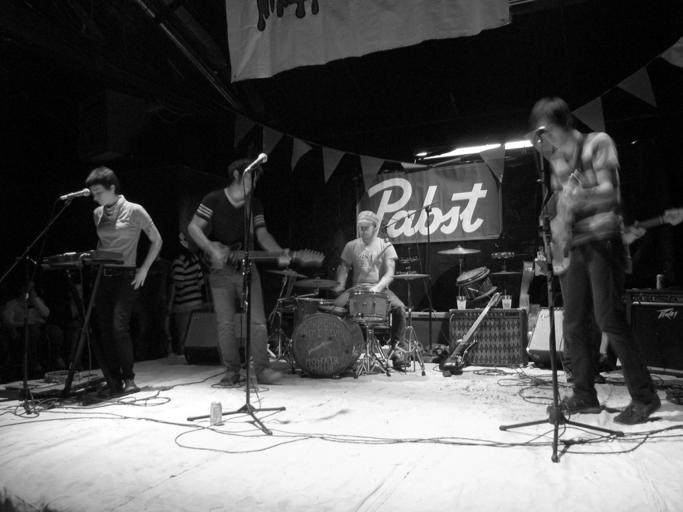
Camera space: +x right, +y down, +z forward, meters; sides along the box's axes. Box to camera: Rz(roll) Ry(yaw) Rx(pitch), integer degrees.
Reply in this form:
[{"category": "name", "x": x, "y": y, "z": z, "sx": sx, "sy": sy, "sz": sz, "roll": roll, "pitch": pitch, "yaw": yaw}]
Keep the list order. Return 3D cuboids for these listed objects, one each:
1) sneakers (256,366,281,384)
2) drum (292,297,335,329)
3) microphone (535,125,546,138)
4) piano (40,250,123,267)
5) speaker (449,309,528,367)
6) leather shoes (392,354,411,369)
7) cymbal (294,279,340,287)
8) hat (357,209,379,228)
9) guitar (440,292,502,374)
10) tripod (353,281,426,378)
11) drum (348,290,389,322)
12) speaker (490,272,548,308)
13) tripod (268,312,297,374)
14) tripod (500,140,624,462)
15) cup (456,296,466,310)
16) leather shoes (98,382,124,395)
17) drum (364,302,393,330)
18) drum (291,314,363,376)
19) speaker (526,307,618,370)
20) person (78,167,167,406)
[{"category": "sneakers", "x": -0.768, "y": 1.266, "z": 6.578, "sx": 0.221, "sy": 0.172, "sz": 0.145, "roll": -3, "pitch": 0, "yaw": 1}, {"category": "drum", "x": -0.349, "y": 0.684, "z": 7.711, "sx": 0.396, "sy": 0.487, "sz": 0.398, "roll": 2, "pitch": -2, "yaw": -19}, {"category": "microphone", "x": 1.488, "y": -0.941, "z": 4.652, "sx": 0.097, "sy": 0.029, "sz": 0.110, "roll": -4, "pitch": 1, "yaw": 25}, {"category": "piano", "x": -2.423, "y": 0.026, "z": 5.754, "sx": 0.735, "sy": 0.141, "sz": 0.202, "roll": -1, "pitch": -6, "yaw": 1}, {"category": "speaker", "x": 1.923, "y": 1.056, "z": 8.003, "sx": 0.992, "sy": 1.013, "sz": 0.658, "roll": -3, "pitch": -9, "yaw": 20}, {"category": "leather shoes", "x": 0.733, "y": 1.285, "z": 7.554, "sx": 0.139, "sy": 0.198, "sz": 0.191, "roll": -4, "pitch": -7, "yaw": 37}, {"category": "cymbal", "x": -0.303, "y": 0.310, "z": 7.258, "sx": 0.458, "sy": 0.111, "sz": 0.388, "roll": -3, "pitch": -7, "yaw": 18}, {"category": "hat", "x": 0.358, "y": -0.511, "z": 8.254, "sx": 0.213, "sy": 0.164, "sz": 0.336, "roll": 0, "pitch": -13, "yaw": 9}, {"category": "guitar", "x": 1.499, "y": 0.938, "z": 7.655, "sx": 0.572, "sy": 0.975, "sz": 1.213, "roll": -5, "pitch": -7, "yaw": 37}, {"category": "tripod", "x": 0.426, "y": 0.893, "z": 7.759, "sx": 0.827, "sy": 1.340, "sz": 0.963, "roll": -7, "pitch": 4, "yaw": 34}, {"category": "drum", "x": 0.285, "y": 0.572, "z": 6.762, "sx": 0.309, "sy": 0.223, "sz": 0.336, "roll": 3, "pitch": -7, "yaw": 0}, {"category": "speaker", "x": 2.761, "y": 0.515, "z": 9.597, "sx": 0.652, "sy": 0.403, "sz": 0.638, "roll": 6, "pitch": 3, "yaw": 30}, {"category": "tripod", "x": -0.857, "y": 1.202, "z": 8.898, "sx": 0.552, "sy": 1.045, "sz": 0.704, "roll": 2, "pitch": -6, "yaw": -2}, {"category": "tripod", "x": 1.737, "y": 0.268, "z": 4.948, "sx": 0.757, "sy": 2.449, "sz": 1.339, "roll": -4, "pitch": -6, "yaw": 31}, {"category": "cup", "x": 1.678, "y": 0.665, "z": 8.790, "sx": 0.158, "sy": 0.201, "sz": 0.174, "roll": 0, "pitch": -13, "yaw": 0}, {"category": "leather shoes", "x": -2.249, "y": 1.316, "z": 6.067, "sx": 0.117, "sy": 0.070, "sz": 0.176, "roll": 0, "pitch": -3, "yaw": 7}, {"category": "drum", "x": 0.390, "y": 0.681, "z": 6.928, "sx": 0.287, "sy": 0.322, "sz": 0.310, "roll": 1, "pitch": 0, "yaw": 27}, {"category": "drum", "x": -0.151, "y": 0.930, "z": 7.016, "sx": 0.647, "sy": 0.723, "sz": 0.728, "roll": -26, "pitch": -7, "yaw": 18}, {"category": "speaker", "x": 2.244, "y": 0.811, "z": 5.989, "sx": 0.418, "sy": 0.665, "sz": 0.815, "roll": 5, "pitch": -5, "yaw": -15}, {"category": "person", "x": -2.208, "y": 0.252, "z": 6.074, "sx": 0.658, "sy": 2.222, "sz": 0.668, "roll": 0, "pitch": 3, "yaw": 6}]
